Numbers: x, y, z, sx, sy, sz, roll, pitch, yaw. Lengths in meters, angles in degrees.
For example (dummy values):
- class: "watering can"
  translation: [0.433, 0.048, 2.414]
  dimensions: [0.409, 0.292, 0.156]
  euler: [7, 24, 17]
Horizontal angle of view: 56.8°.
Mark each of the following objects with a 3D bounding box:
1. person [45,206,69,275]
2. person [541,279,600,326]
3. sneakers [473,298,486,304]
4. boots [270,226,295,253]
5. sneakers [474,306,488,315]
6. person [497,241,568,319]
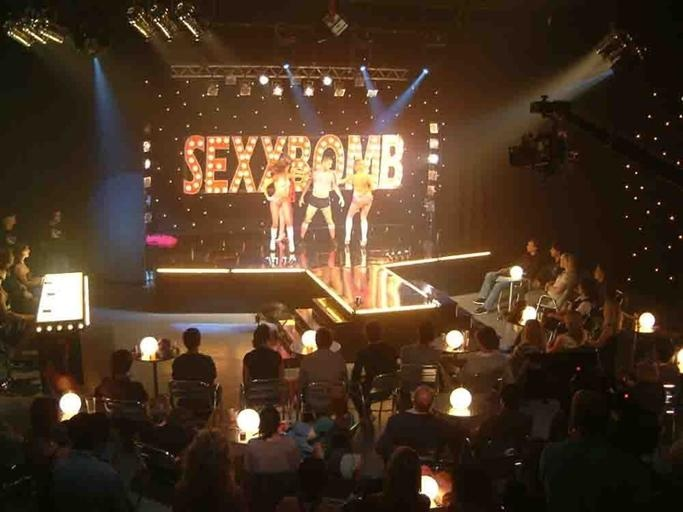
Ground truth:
- class: "person"
  translation: [-5.676, -0.216, 12.522]
  dimensions: [0.479, 1.508, 0.336]
  euler: [9, 25, -10]
- class: "person"
  translation: [3.656, 0.776, 9.999]
  dimensions: [0.890, 0.731, 0.906]
  euler: [-3, -11, 21]
- class: "sneakers"
  translation: [2.685, 0.897, 12.376]
  dimensions: [0.304, 0.137, 0.113]
  euler: [2, 9, 6]
- class: "boots"
  translation: [-1.408, -0.424, 14.792]
  dimensions: [0.668, 0.624, 0.595]
  euler: [1, 17, -1]
- class: "sneakers"
  translation: [2.736, 1.078, 12.296]
  dimensions: [0.272, 0.109, 0.099]
  euler: [-1, 10, 14]
- class: "person"
  translation: [3.502, 0.465, 11.383]
  dimensions: [0.796, 0.497, 1.394]
  euler: [15, 43, 20]
